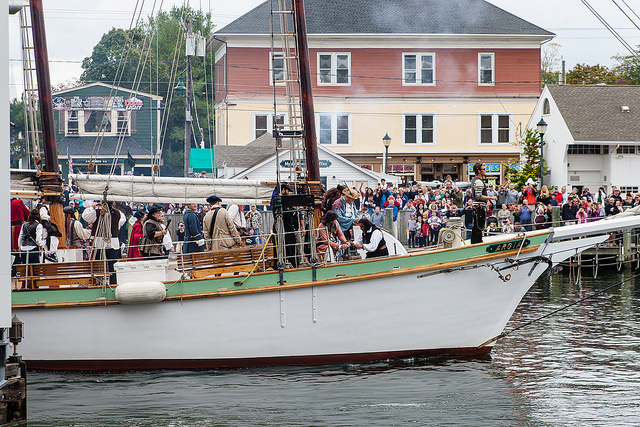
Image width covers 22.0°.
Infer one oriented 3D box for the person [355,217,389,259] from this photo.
[{"bbox_3d":[1.665,0.808,51.938,0.856,1.418,0.752,1,1,-6],"label":"person"}]
